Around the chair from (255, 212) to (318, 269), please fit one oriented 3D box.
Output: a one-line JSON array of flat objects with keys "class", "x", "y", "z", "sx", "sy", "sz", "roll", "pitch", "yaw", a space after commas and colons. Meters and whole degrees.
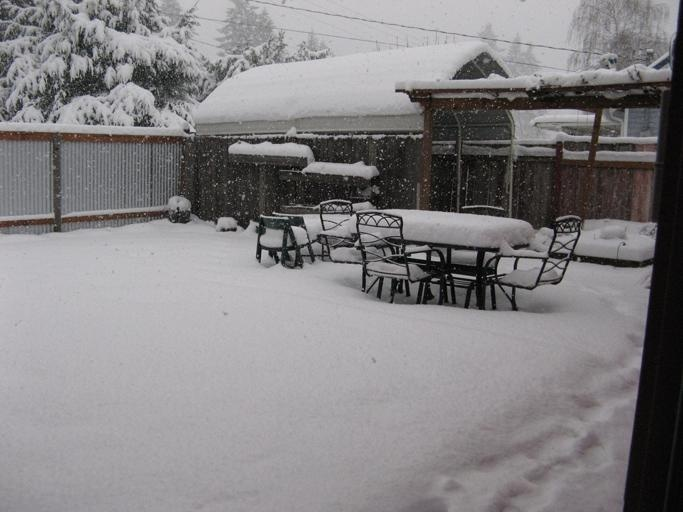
[{"class": "chair", "x": -0.769, "y": -0.261, "z": 7.866, "sx": 0.600, "sy": 0.946, "sz": 0.783, "roll": 8, "pitch": 19, "yaw": 30}]
